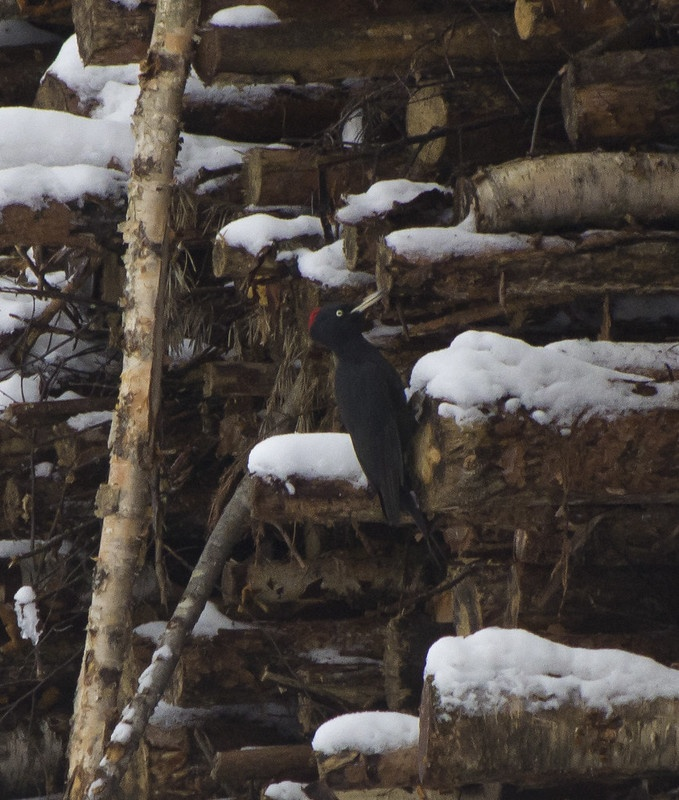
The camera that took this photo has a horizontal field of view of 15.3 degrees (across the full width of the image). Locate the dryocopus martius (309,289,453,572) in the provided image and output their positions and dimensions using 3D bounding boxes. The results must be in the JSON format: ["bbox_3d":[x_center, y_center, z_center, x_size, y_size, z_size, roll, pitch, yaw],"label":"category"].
[{"bbox_3d":[0.268,0.077,16.016,0.923,1.639,0.409,-32,21,14],"label":"dryocopus martius"}]
